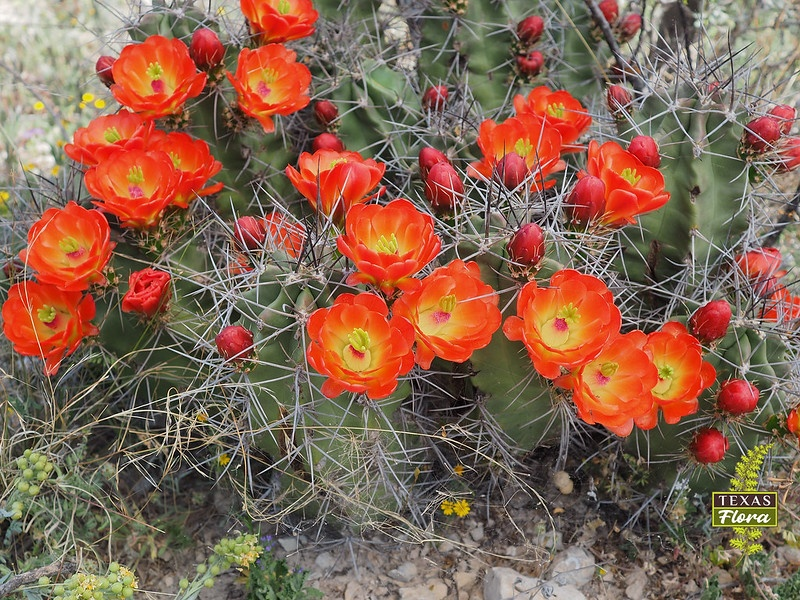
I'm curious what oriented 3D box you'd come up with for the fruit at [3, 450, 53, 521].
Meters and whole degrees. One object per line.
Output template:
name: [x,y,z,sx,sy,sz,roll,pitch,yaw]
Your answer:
fruit: [-1.050,0.522,1.964,0.077,0.238,0.086,31,45,-2]
